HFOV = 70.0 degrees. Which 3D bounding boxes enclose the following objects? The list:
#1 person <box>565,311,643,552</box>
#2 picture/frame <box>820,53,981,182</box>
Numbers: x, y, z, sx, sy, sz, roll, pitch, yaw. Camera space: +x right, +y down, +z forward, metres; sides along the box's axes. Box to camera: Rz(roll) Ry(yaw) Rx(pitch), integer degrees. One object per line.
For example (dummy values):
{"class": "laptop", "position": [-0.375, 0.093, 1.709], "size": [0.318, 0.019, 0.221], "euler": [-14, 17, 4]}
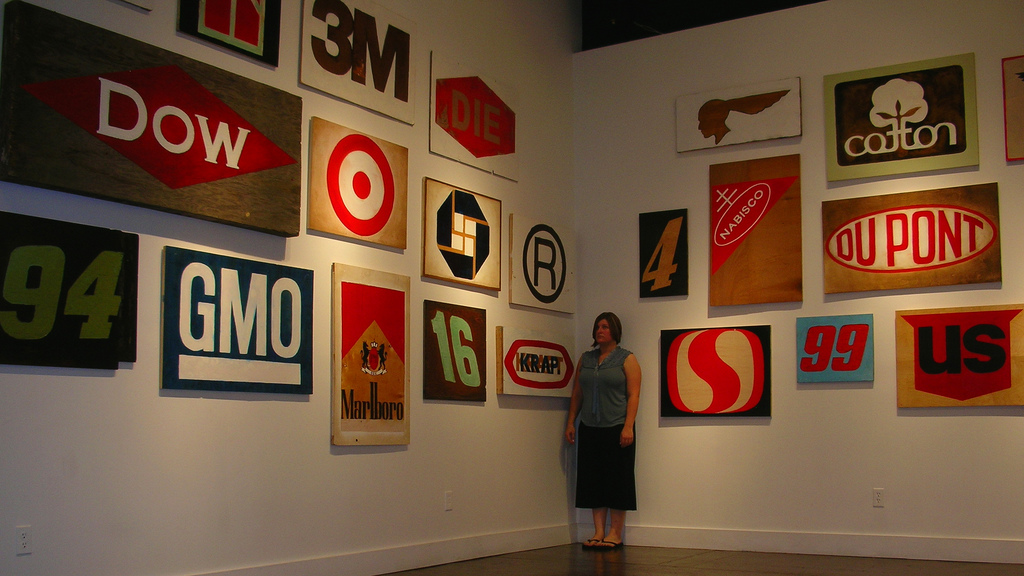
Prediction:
{"class": "person", "position": [0.979, 1.521, 7.929], "size": [0.819, 2.452, 0.511], "euler": [-2, -11, 18]}
{"class": "picture/frame", "position": [4.031, -1.716, 7.472], "size": [1.339, 1.092, 0.051], "euler": [-4, -10, 20]}
